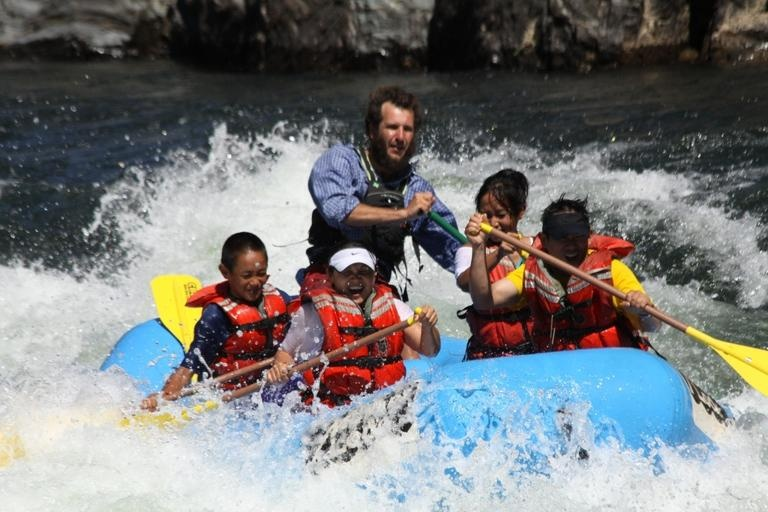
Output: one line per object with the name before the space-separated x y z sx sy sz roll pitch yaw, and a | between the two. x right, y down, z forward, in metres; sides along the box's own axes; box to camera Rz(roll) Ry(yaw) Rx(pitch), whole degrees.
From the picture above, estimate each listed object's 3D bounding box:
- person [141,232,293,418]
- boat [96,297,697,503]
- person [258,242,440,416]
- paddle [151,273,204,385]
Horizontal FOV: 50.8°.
person | -1.567 0.695 7.510 0.347 1.325 1.312 8 26 44
boat | 0.478 1.181 6.652 3.701 0.718 2.022 -1 20 4
person | -0.153 0.932 7.060 1.212 1.912 0.926 -10 7 -7
paddle | -2.000 0.506 7.975 0.431 0.103 0.987 -6 37 -21
